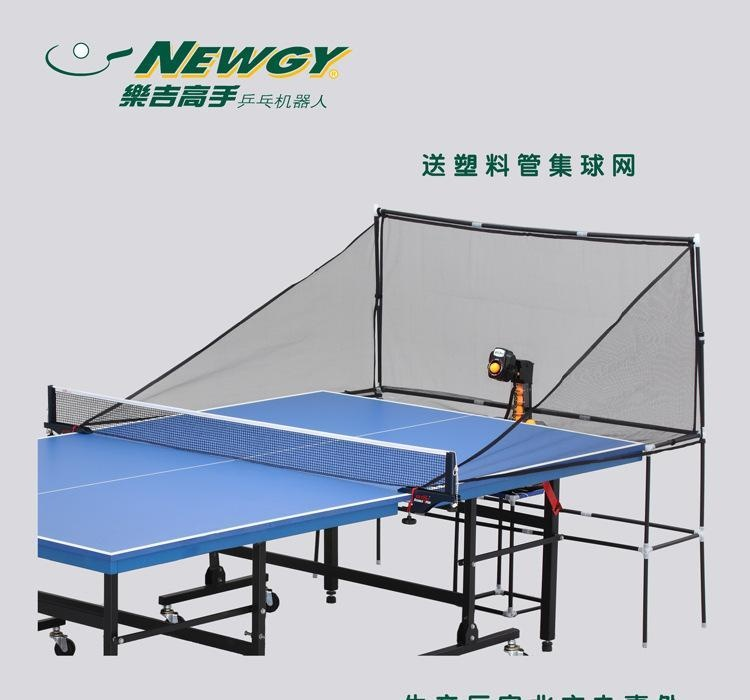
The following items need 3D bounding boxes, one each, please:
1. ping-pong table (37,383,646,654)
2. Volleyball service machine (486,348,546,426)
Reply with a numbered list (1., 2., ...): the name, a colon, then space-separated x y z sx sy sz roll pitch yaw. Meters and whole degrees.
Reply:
1. ping-pong table: -0.772 0.624 6.339 1.804 0.993 2.497 10 13 41
2. Volleyball service machine: 0.845 0.196 7.606 0.228 0.487 0.253 -3 7 -40
